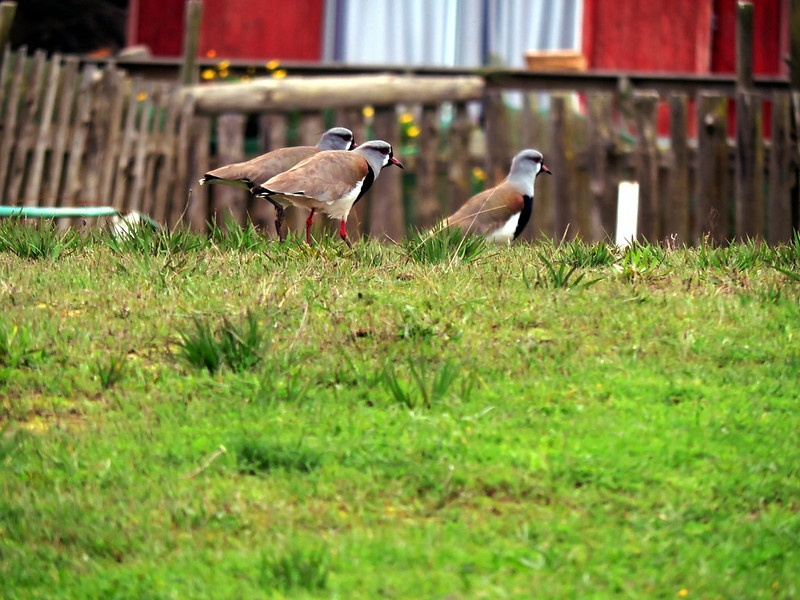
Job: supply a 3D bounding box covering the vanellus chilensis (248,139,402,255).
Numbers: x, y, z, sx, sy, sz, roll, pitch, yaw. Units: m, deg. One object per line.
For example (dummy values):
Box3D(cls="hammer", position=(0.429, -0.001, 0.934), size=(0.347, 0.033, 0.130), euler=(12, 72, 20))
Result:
Box3D(cls="vanellus chilensis", position=(-0.581, -0.883, 9.834), size=(1.277, 1.088, 0.473), euler=(7, -14, -26))
